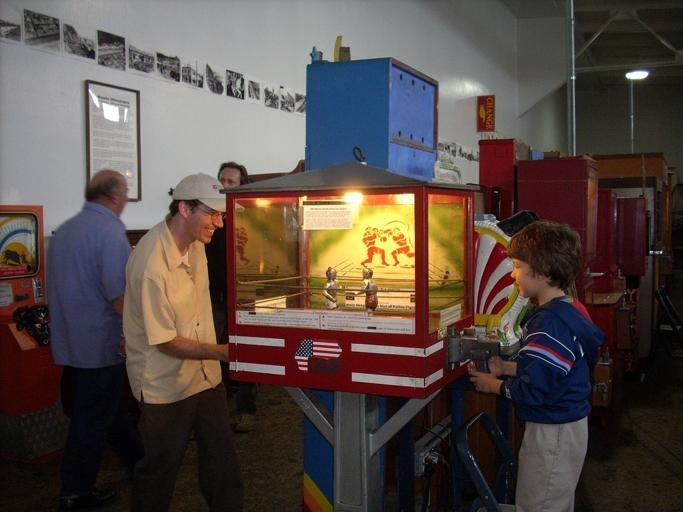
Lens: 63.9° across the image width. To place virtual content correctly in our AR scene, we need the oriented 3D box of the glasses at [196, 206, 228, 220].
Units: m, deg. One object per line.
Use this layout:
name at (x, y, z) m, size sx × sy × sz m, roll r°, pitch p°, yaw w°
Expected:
glasses at (-0.643, -0.217, 2.604) m, size 0.076 × 0.022 × 0.075 m, roll 27°, pitch 4°, yaw 31°

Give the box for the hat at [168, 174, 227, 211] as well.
hat at (-0.665, -0.297, 2.573) m, size 0.231 × 0.144 × 0.158 m, roll 22°, pitch 20°, yaw 0°

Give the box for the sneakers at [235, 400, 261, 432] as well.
sneakers at (-0.802, 1.356, 4.647) m, size 0.187 × 0.367 × 0.205 m, roll 3°, pitch 8°, yaw 15°
